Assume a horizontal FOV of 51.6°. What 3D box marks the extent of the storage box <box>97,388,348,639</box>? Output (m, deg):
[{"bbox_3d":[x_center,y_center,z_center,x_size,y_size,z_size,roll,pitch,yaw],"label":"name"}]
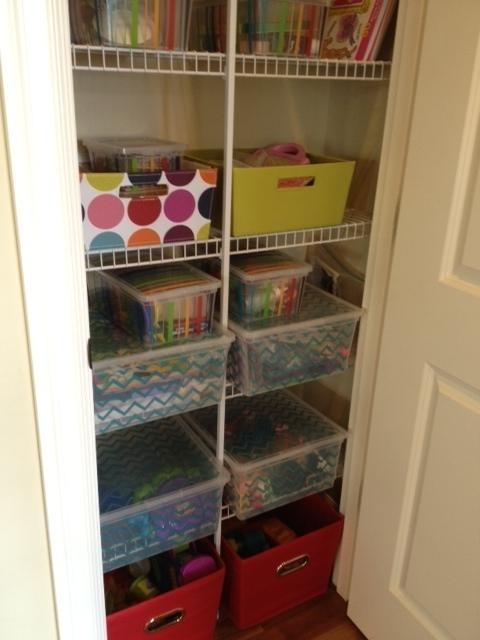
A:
[{"bbox_3d":[-0.046,0.590,1.379,0.643,0.350,0.454,-14,27,-30],"label":"storage box"}]
